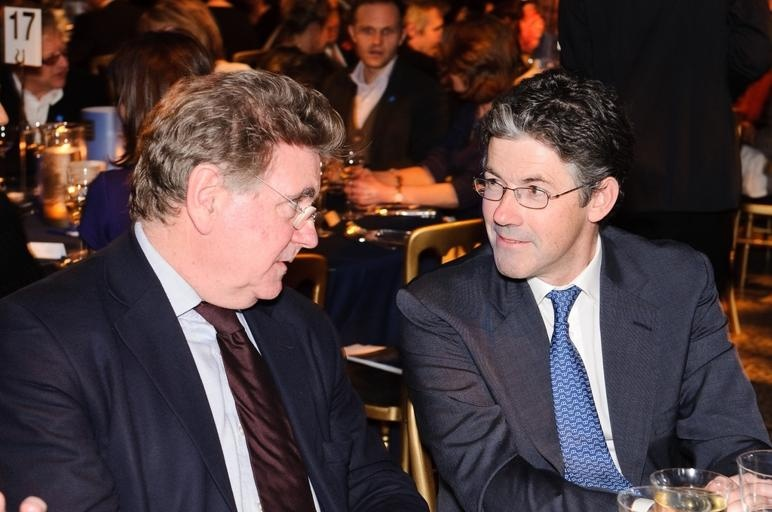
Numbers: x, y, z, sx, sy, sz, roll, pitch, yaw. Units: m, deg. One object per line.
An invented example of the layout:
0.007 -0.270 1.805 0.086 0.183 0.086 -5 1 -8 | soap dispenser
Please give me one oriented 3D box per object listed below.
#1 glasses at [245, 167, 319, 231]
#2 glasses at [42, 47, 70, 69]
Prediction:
-0.291 -0.158 1.964 0.157 0.050 0.119 32 -2 20 | glasses
-1.949 -1.134 4.042 0.133 0.088 0.131 18 32 24 | glasses
